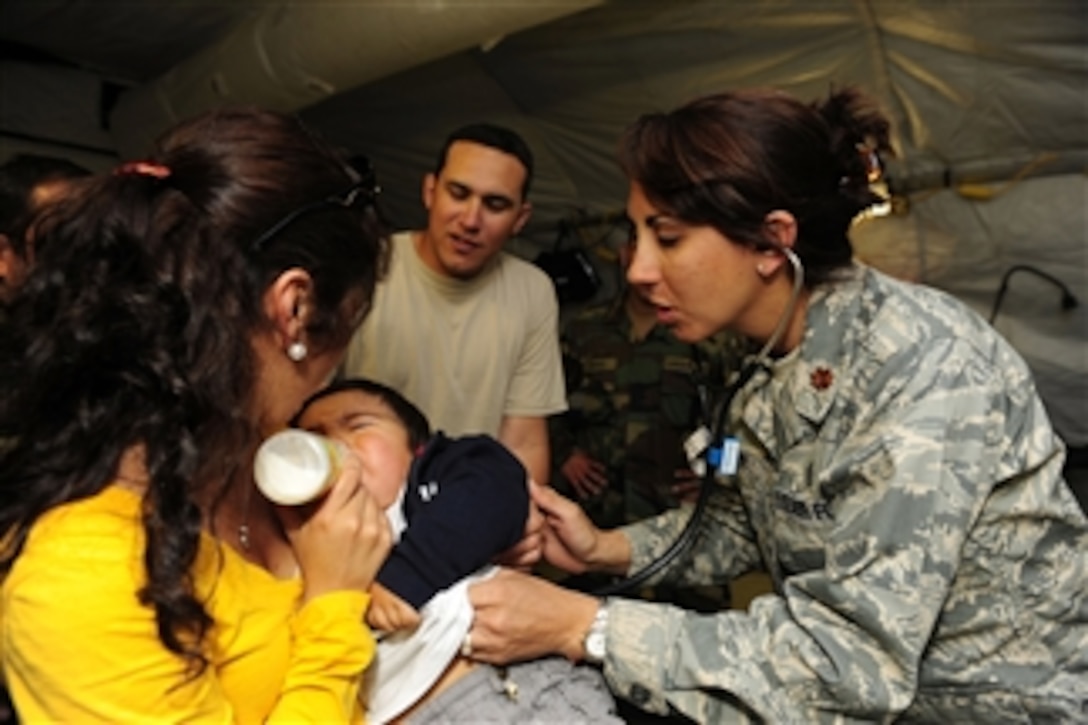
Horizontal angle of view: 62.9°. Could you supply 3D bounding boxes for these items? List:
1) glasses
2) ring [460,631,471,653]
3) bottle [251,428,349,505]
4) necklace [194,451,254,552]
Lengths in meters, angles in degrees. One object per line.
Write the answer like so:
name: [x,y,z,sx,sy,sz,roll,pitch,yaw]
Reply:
glasses: [-0.485,-0.338,2.019,0.235,0.069,0.235,-30,20,1]
ring: [-0.193,0.688,2.193,0.017,0.045,0.034,10,10,-1]
bottle: [-0.546,0.222,2.087,0.179,0.174,0.192,15,-6,13]
necklace: [-0.724,0.320,2.053,0.070,0.219,0.165,4,8,32]
